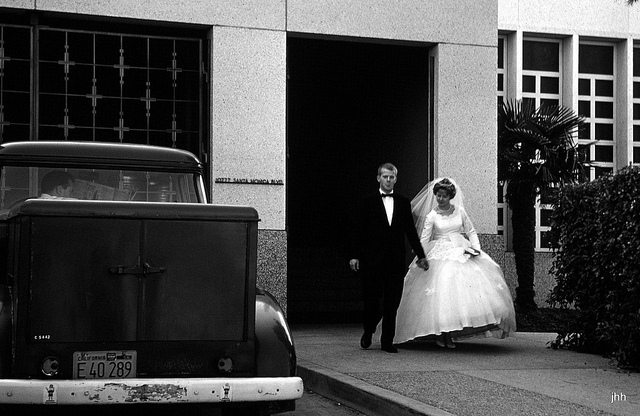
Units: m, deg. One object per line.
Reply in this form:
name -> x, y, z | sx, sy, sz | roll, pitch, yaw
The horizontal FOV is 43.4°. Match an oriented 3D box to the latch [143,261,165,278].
latch -> -1.688, 0.618, 8.104 | 0.157, 0.098, 0.155 | 4, -3, -22

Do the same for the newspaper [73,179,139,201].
newspaper -> -2.543, -0.211, 9.455 | 0.668, 0.208, 0.147 | 5, 4, -20
